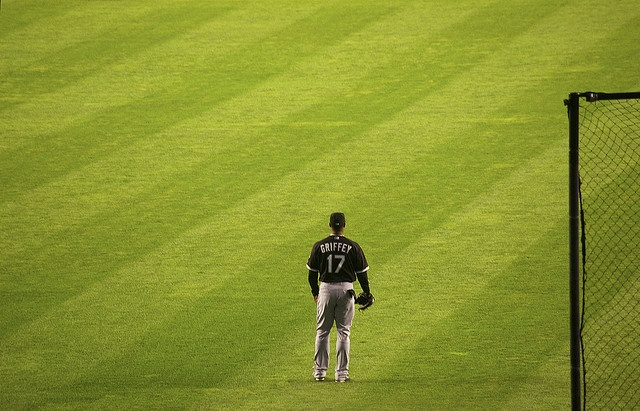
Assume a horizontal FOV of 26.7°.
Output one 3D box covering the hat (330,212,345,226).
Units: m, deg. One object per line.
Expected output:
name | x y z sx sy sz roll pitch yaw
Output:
hat | 0.291 0.158 22.374 0.202 0.235 0.231 4 -65 6

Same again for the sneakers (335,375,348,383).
sneakers | 0.360 2.798 22.502 0.146 0.073 0.184 0 5 -2
